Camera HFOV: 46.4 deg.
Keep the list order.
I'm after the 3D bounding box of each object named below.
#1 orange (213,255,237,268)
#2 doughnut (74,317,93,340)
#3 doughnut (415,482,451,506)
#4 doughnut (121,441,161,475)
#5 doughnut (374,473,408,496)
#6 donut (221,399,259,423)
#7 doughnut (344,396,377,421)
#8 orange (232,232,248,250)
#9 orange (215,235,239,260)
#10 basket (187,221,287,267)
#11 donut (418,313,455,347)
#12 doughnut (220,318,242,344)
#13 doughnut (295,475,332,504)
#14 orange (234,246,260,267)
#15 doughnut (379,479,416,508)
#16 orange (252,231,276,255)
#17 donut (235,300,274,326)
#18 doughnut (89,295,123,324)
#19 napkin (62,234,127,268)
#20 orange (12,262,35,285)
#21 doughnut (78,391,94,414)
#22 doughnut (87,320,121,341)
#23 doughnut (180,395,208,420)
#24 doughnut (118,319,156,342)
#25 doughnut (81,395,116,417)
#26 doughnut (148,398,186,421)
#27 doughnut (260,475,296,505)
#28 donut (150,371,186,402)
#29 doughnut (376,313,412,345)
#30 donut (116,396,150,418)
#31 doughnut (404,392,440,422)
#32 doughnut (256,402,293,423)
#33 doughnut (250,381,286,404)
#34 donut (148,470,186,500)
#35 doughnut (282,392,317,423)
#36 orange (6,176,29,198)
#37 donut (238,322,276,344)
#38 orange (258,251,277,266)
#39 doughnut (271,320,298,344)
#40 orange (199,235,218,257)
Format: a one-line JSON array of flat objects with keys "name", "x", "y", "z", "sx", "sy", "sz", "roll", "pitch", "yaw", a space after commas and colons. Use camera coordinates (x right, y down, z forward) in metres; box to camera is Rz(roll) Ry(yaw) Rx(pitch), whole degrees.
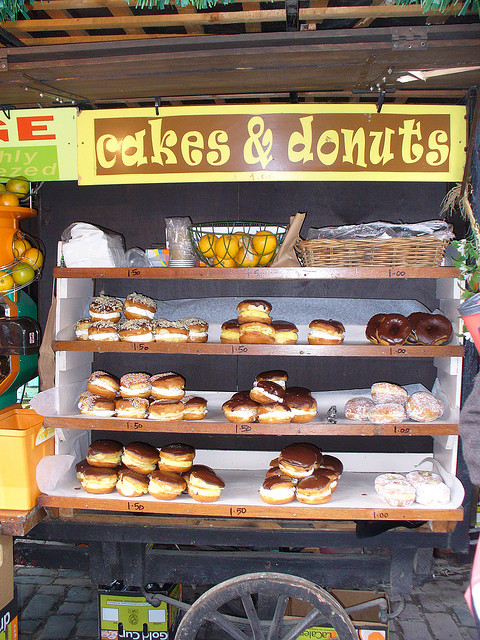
[{"name": "orange", "x": -0.073, "y": -0.287, "z": 2.844, "sx": 0.083, "sy": 0.074, "sz": 0.073, "roll": -6, "pitch": -44, "yaw": -10}, {"name": "doughnut", "x": -0.838, "y": 0.054, "z": 3.073, "sx": 0.110, "sy": 0.096, "sz": 0.080, "roll": 5, "pitch": 1, "yaw": 29}, {"name": "doughnut", "x": 0.957, "y": 0.874, "z": 2.799, "sx": 0.135, "sy": 0.068, "sz": 0.125, "roll": 1, "pitch": 2, "yaw": 5}, {"name": "doughnut", "x": -0.537, "y": 0.721, "z": 2.997, "sx": 0.176, "sy": 0.082, "sz": 0.168, "roll": 19, "pitch": 9, "yaw": -22}, {"name": "doughnut", "x": 0.778, "y": 0.843, "z": 2.904, "sx": 0.137, "sy": 0.047, "sz": 0.132, "roll": -10, "pitch": 14, "yaw": 19}, {"name": "donut", "x": -0.001, "y": 0.470, "z": 2.913, "sx": 0.194, "sy": 0.130, "sz": 0.088, "roll": -5, "pitch": -19, "yaw": 5}, {"name": "doughnut", "x": 0.638, "y": 0.471, "z": 3.014, "sx": 0.134, "sy": 0.067, "sz": 0.123, "roll": 1, "pitch": 5, "yaw": 8}, {"name": "orange", "x": 0.008, "y": -0.412, "z": 2.864, "sx": 0.079, "sy": 0.069, "sz": 0.070, "roll": 12, "pitch": -44, "yaw": -9}, {"name": "orange", "x": -0.066, "y": -0.365, "z": 2.804, "sx": 0.126, "sy": 0.128, "sz": 0.115, "roll": 1, "pitch": 5, "yaw": 5}, {"name": "basket", "x": 0.014, "y": -0.387, "z": 2.933, "sx": 0.527, "sy": 0.173, "sz": 0.480, "roll": -3, "pitch": -7, "yaw": -20}, {"name": "donut", "x": 1.007, "y": 0.063, "z": 2.895, "sx": 0.168, "sy": 0.163, "sz": 0.061, "roll": -41, "pitch": -35, "yaw": 0}, {"name": "doughnut", "x": -0.054, "y": 0.060, "z": 2.995, "sx": 0.102, "sy": 0.154, "sz": 0.142, "roll": -2, "pitch": -18, "yaw": -4}, {"name": "doughnut", "x": 0.364, "y": 0.841, "z": 2.786, "sx": 0.153, "sy": 0.076, "sz": 0.140, "roll": 0, "pitch": -10, "yaw": -2}, {"name": "orange", "x": 0.038, "y": -0.314, "z": 2.789, "sx": 0.115, "sy": 0.099, "sz": 0.059, "roll": 2, "pitch": 8, "yaw": -4}, {"name": "doughnut", "x": 0.782, "y": 0.861, "z": 2.798, "sx": 0.143, "sy": 0.064, "sz": 0.131, "roll": 2, "pitch": -4, "yaw": -14}, {"name": "orange", "x": 0.115, "y": -0.384, "z": 2.805, "sx": 0.116, "sy": 0.122, "sz": 0.115, "roll": 4, "pitch": 11, "yaw": 28}, {"name": "donut", "x": 0.070, "y": -0.042, "z": 2.969, "sx": 0.165, "sy": 0.102, "sz": 0.157, "roll": 2, "pitch": -2, "yaw": 18}, {"name": "doughnut", "x": -0.725, "y": -0.062, "z": 3.044, "sx": 0.163, "sy": 0.153, "sz": 0.093, "roll": 26, "pitch": -38, "yaw": 10}, {"name": "napkin", "x": -0.801, "y": -0.372, "z": 3.044, "sx": 0.254, "sy": 0.138, "sz": 0.240, "roll": -7, "pitch": 24, "yaw": -4}, {"name": "orange", "x": -1.251, "y": -0.262, "z": 3.228, "sx": 0.128, "sy": 0.133, "sz": 0.122, "roll": 6, "pitch": 6, "yaw": 27}, {"name": "doughnut", "x": -0.823, "y": 0.451, "z": 3.047, "sx": 0.048, "sy": 0.092, "sz": 0.100, "roll": 0, "pitch": 5, "yaw": 1}, {"name": "doughnut", "x": -0.721, "y": 0.060, "z": 2.949, "sx": 0.132, "sy": 0.081, "sz": 0.131, "roll": -1, "pitch": -5, "yaw": 40}, {"name": "doughnut", "x": -0.247, "y": 0.471, "z": 2.985, "sx": 0.130, "sy": 0.071, "sz": 0.120, "roll": 1, "pitch": -4, "yaw": 1}, {"name": "doughnut", "x": -0.552, "y": 0.053, "z": 2.966, "sx": 0.188, "sy": 0.149, "sz": 0.094, "roll": 1, "pitch": -19, "yaw": -12}, {"name": "doughnut", "x": -0.754, "y": 0.449, "z": 2.988, "sx": 0.129, "sy": 0.060, "sz": 0.121, "roll": 13, "pitch": -8, "yaw": -19}, {"name": "doughnut", "x": -0.388, "y": 0.475, "z": 2.930, "sx": 0.202, "sy": 0.112, "sz": 0.094, "roll": -2, "pitch": -18, "yaw": -3}, {"name": "doughnut", "x": 0.185, "y": 0.850, "z": 2.798, "sx": 0.151, "sy": 0.086, "sz": 0.139, "roll": -1, "pitch": -4, "yaw": -1}, {"name": "donut", "x": -0.399, "y": 0.364, "z": 3.042, "sx": 0.184, "sy": 0.187, "sz": 0.156, "roll": 0, "pitch": -18, "yaw": -9}, {"name": "doughnut", "x": 0.801, "y": 0.054, "z": 2.912, "sx": 0.166, "sy": 0.156, "sz": 0.059, "roll": -13, "pitch": -40, "yaw": 24}, {"name": "donut", "x": -0.579, "y": 0.476, "z": 3.014, "sx": 0.134, "sy": 0.064, "sz": 0.123, "roll": 3, "pitch": -18, "yaw": -2}, {"name": "doughnut", "x": 0.935, "y": 0.441, "z": 2.872, "sx": 0.154, "sy": 0.145, "sz": 0.062, "roll": 1, "pitch": -42, "yaw": 15}, {"name": "doughnut", "x": 0.175, "y": 0.470, "z": 2.837, "sx": 0.128, "sy": 0.065, "sz": 0.121, "roll": 3, "pitch": -8, "yaw": -27}, {"name": "doughnut", "x": 0.152, "y": 0.374, "z": 2.925, "sx": 0.132, "sy": 0.069, "sz": 0.127, "roll": 4, "pitch": 1, "yaw": -32}, {"name": "donut", "x": -0.382, "y": 0.858, "z": 2.903, "sx": 0.186, "sy": 0.138, "sz": 0.135, "roll": 0, "pitch": -18, "yaw": -8}, {"name": "doughnut", "x": 0.318, "y": 0.453, "z": 2.901, "sx": 0.161, "sy": 0.085, "sz": 0.149, "roll": 2, "pitch": -7, "yaw": -3}, {"name": "orange", "x": -1.290, "y": -0.764, "z": 3.250, "sx": 0.123, "sy": 0.110, "sz": 0.142, "roll": 11, "pitch": 21, "yaw": 40}, {"name": "donut", "x": 0.084, "y": 0.073, "z": 2.897, "sx": 0.195, "sy": 0.122, "sz": 0.090, "roll": -3, "pitch": -18, "yaw": 1}, {"name": "orange", "x": 0.129, "y": -0.315, "z": 2.875, "sx": 0.056, "sy": 0.058, "sz": 0.051, "roll": 6, "pitch": -25, "yaw": -5}, {"name": "doughnut", "x": 0.231, "y": 0.067, "z": 2.966, "sx": 0.128, "sy": 0.076, "sz": 0.120, "roll": 0, "pitch": 5, "yaw": 14}, {"name": "orange", "x": -0.172, "y": -0.384, "z": 2.841, "sx": 0.106, "sy": 0.104, "sz": 0.098, "roll": 1, "pitch": 7, "yaw": 2}]
